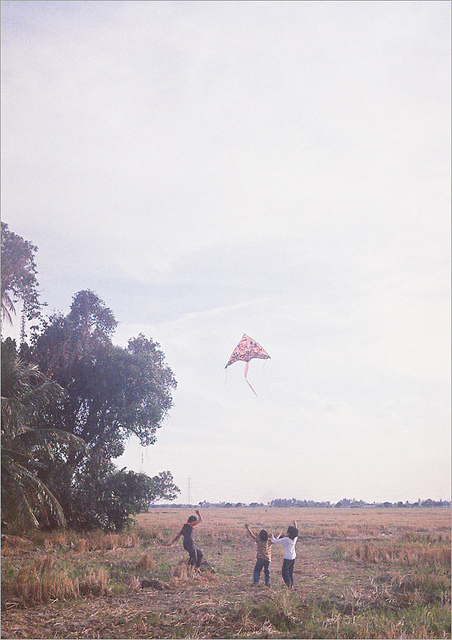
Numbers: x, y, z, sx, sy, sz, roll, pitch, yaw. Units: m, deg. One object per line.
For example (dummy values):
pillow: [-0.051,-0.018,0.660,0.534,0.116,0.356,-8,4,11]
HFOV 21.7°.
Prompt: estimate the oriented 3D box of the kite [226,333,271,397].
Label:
kite: [0.540,0.752,27.759,1.108,2.325,0.124,-2,1,7]

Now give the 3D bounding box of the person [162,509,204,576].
person: [-0.912,5.598,29.928,0.678,1.632,1.773,1,-6,0]
